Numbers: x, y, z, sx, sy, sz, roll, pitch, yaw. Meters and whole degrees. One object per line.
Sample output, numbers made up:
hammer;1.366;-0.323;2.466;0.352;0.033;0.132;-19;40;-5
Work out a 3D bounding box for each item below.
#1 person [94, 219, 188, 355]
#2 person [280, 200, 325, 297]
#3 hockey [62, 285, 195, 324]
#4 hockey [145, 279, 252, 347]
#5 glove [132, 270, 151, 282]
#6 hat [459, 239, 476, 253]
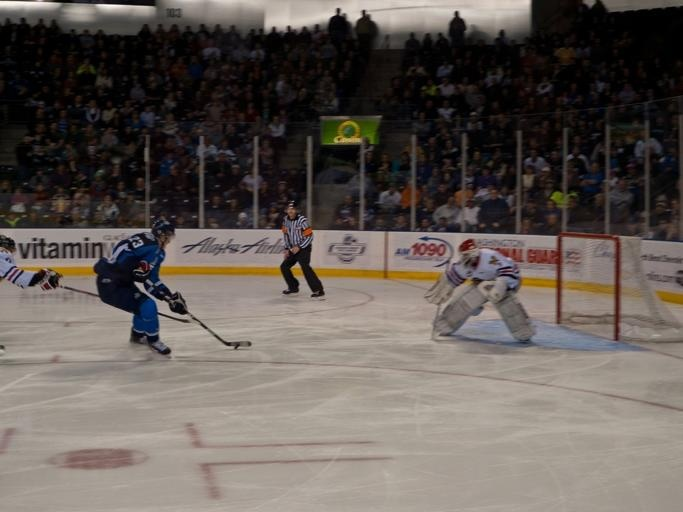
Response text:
person;-2.403;0.373;10.690;1.021;1.583;0.422;3;3;24
person;-0.666;-0.123;15.170;0.600;1.578;0.965;1;3;-28
hockey;-2.871;0.670;11.994;2.304;0.044;0.250;11;-2;-12
hockey;-1.861;0.799;11.076;1.657;0.142;0.396;15;-11;2
glove;-2.397;0.231;10.684;0.135;0.161;0.276;0;2;-31
hat;1.641;-0.125;11.591;0.222;0.182;0.254;1;2;7
